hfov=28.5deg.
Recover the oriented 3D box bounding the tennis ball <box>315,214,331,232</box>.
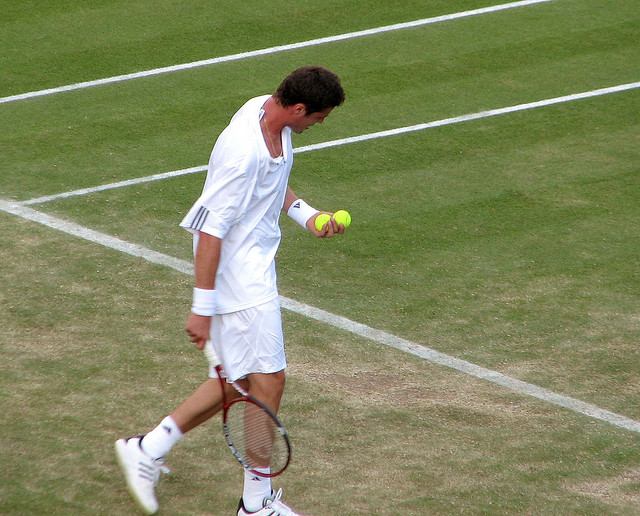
[{"bbox_3d":[0.020,-0.313,11.070,0.131,0.134,0.085,-2,26,0],"label":"tennis ball"}]

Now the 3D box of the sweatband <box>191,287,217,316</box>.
[{"bbox_3d":[-0.961,0.359,10.361,0.203,0.243,0.125,-5,27,-5],"label":"sweatband"}]

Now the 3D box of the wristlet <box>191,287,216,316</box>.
[{"bbox_3d":[-0.877,0.367,10.335,0.316,0.203,0.220,3,0,5],"label":"wristlet"}]
